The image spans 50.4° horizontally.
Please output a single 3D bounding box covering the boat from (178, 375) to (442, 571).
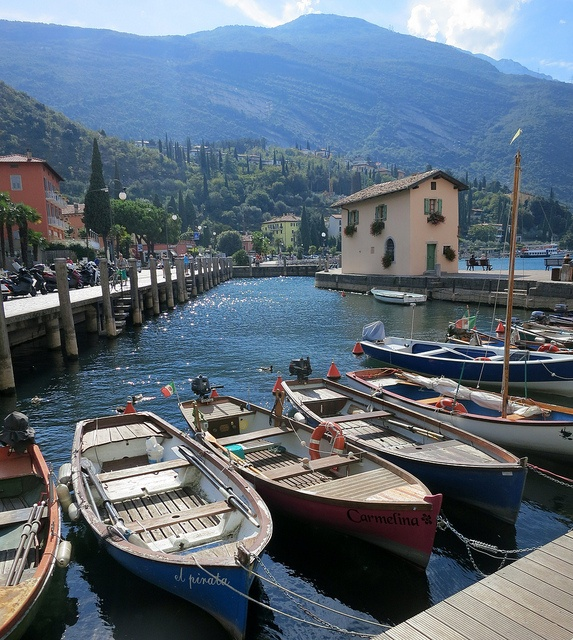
[{"bbox_3d":[0.172,2.324,10.032,1.818,1.242,5.246,0,6,-25],"label":"boat"}]

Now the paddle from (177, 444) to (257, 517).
[{"bbox_3d":[-1.048,2.411,8.897,1.698,0.112,0.159,39,21,22],"label":"paddle"}]

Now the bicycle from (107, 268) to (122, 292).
[{"bbox_3d":[-8.799,-2.007,31.517,0.974,1.142,1.888,1,15,-12],"label":"bicycle"}]

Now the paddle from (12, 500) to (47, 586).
[{"bbox_3d":[-3.250,2.765,7.635,0.199,0.101,1.327,0,14,-17],"label":"paddle"}]

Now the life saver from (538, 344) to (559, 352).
[{"bbox_3d":[7.575,0.823,17.627,0.289,0.252,0.447,1,1,-12],"label":"life saver"}]

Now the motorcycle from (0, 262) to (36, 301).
[{"bbox_3d":[-11.139,-1.598,25.388,1.320,1.449,2.334,-5,9,-23],"label":"motorcycle"}]

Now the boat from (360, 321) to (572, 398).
[{"bbox_3d":[5.054,1.286,17.613,1.885,1.311,5.539,-7,11,-43],"label":"boat"}]

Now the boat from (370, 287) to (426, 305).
[{"bbox_3d":[6.821,-1.394,38.166,1.430,0.860,3.837,-6,11,-26],"label":"boat"}]

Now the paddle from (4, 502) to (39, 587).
[{"bbox_3d":[-3.235,2.773,7.540,0.180,0.121,1.222,7,19,-19],"label":"paddle"}]

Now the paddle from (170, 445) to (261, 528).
[{"bbox_3d":[-1.036,2.364,8.846,0.150,0.092,1.928,-22,36,-33],"label":"paddle"}]

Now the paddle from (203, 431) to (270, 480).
[{"bbox_3d":[-1.074,2.189,10.374,0.394,0.193,3.397,5,-3,-25],"label":"paddle"}]

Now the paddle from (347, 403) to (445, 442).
[{"bbox_3d":[2.167,1.969,11.435,0.558,0.085,1.621,-9,10,-27],"label":"paddle"}]
